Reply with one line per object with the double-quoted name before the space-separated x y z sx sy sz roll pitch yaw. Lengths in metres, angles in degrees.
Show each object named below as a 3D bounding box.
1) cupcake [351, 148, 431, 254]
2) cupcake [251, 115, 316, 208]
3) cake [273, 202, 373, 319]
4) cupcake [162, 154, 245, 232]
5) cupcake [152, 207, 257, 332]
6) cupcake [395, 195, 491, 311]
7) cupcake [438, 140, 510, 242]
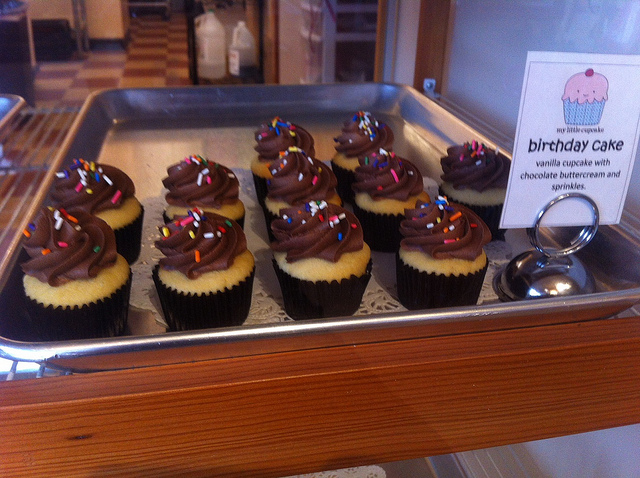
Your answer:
"cupcake" 0.236 -0.154 1.781 0.317 0.419 0.358 0 11 -1
"cupcake" -0.144 -0.332 2.055 0.287 0.426 0.330 -13 -5 -1
"cake" 0.003 0.056 1.542 0.325 0.336 0.304 0 31 3
"cupcake" -0.453 -0.139 1.806 0.328 0.336 0.350 5 13 23
"cupcake" -0.352 0.095 1.454 0.294 0.318 0.223 -14 33 -22
"cupcake" 0.387 0.024 1.542 0.273 0.357 0.288 -9 35 -9
"cupcake" 0.546 -0.208 1.914 0.292 0.371 0.339 -5 17 1
